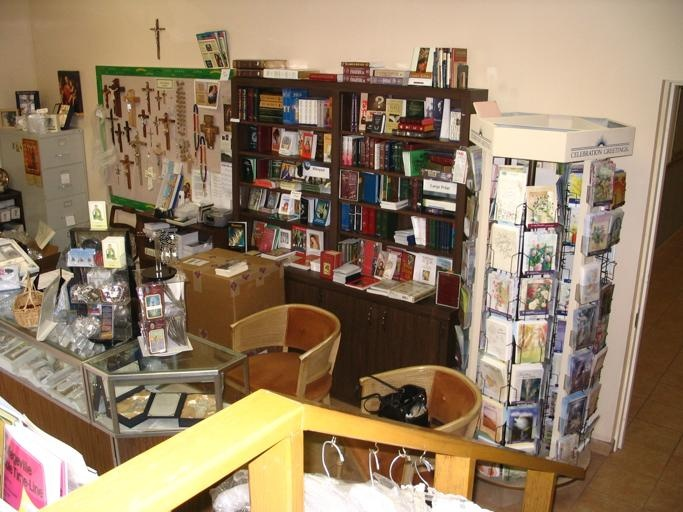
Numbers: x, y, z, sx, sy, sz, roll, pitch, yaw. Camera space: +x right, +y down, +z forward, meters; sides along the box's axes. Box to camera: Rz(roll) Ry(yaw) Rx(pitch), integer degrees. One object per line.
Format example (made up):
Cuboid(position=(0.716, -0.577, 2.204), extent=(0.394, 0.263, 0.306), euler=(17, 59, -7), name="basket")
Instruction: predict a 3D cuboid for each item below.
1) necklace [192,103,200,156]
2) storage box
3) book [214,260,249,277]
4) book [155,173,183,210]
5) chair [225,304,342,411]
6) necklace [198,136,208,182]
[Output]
Cuboid(position=(-1.662, -1.410, 6.196), extent=(0.133, 0.577, 0.027), euler=(15, 21, 38), name="necklace")
Cuboid(position=(-1.121, 0.396, 5.299), extent=(0.678, 0.741, 0.963), euler=(-13, 20, -35), name="storage box")
Cuboid(position=(-0.999, 0.119, 4.942), extent=(0.164, 0.041, 0.174), euler=(7, 17, 33), name="book")
Cuboid(position=(-2.000, -0.737, 6.321), extent=(0.243, 0.474, 0.105), euler=(-2, -18, 30), name="book")
Cuboid(position=(-0.446, 0.954, 4.368), extent=(0.812, 0.920, 0.784), euler=(12, 14, 35), name="chair")
Cuboid(position=(-1.592, -1.087, 6.210), extent=(0.120, 0.510, 0.042), euler=(11, 19, 29), name="necklace")
